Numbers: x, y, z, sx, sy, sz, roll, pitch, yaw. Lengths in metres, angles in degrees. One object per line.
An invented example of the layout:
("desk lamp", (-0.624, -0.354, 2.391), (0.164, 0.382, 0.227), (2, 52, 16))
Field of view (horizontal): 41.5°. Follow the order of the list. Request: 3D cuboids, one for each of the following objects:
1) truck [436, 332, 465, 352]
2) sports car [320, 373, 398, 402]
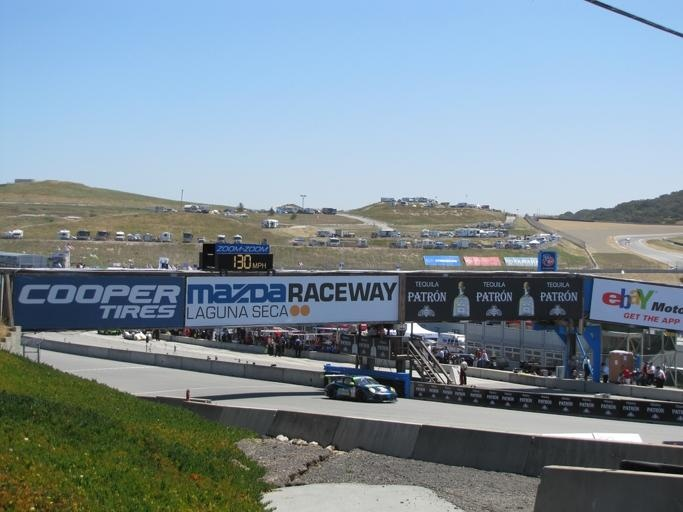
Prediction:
("truck", (9.334, 7.358, 76.969), (2.299, 1.004, 1.314), (-2, -2, 39))
("sports car", (0.937, 7.504, 51.034), (3.962, 1.383, 1.045), (-2, -6, 35))
